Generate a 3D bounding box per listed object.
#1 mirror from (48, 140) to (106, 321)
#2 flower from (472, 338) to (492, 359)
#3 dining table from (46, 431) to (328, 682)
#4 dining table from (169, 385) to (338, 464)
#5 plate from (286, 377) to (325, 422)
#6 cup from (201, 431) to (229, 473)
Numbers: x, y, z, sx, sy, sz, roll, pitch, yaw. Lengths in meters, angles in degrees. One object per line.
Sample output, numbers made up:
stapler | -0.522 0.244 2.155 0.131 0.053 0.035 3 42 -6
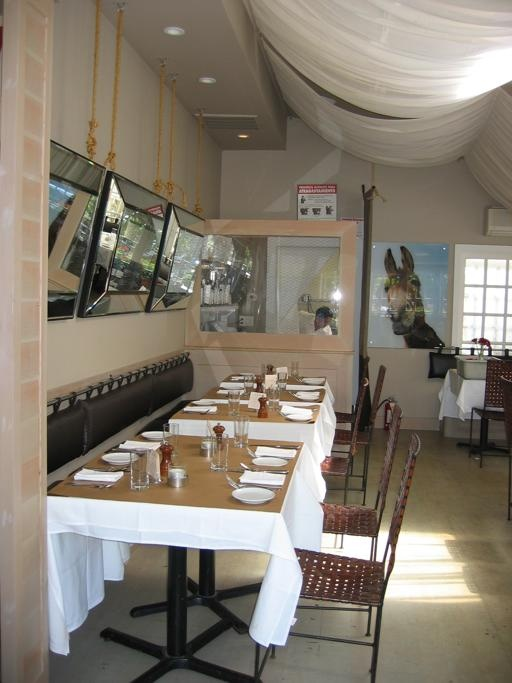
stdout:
mirror | -0.833 -0.464 2.246 0.116 0.735 0.526 4 3 -7
flower | 2.642 0.086 5.938 0.236 0.256 0.219 -2 0 -7
dining table | -0.213 0.654 1.926 0.900 0.669 0.885 2 7 9
dining table | 0.015 0.452 3.371 1.035 0.469 1.002 3 4 4
plate | 0.344 0.418 3.576 0.178 0.198 0.191 3 4 4
cup | -0.158 0.427 2.014 0.085 0.150 0.149 1 5 11
